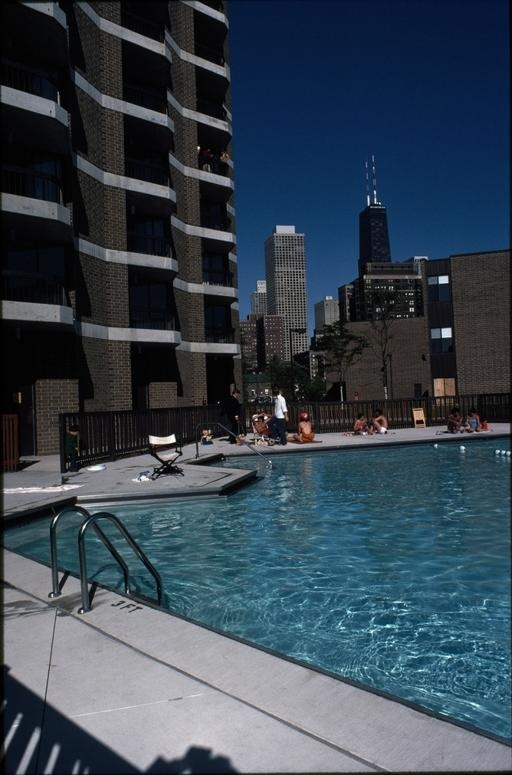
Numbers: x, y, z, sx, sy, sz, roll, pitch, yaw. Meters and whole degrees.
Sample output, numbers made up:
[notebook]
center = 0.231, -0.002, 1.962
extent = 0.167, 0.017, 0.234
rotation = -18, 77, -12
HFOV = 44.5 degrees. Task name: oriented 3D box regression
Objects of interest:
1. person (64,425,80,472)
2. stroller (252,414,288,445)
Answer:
[person]
center = -4.095, 1.334, 13.775
extent = 0.314, 1.015, 0.949
rotation = 3, -2, -18
[stroller]
center = 0.546, 1.342, 20.384
extent = 0.565, 0.965, 1.486
rotation = 0, 3, -37
